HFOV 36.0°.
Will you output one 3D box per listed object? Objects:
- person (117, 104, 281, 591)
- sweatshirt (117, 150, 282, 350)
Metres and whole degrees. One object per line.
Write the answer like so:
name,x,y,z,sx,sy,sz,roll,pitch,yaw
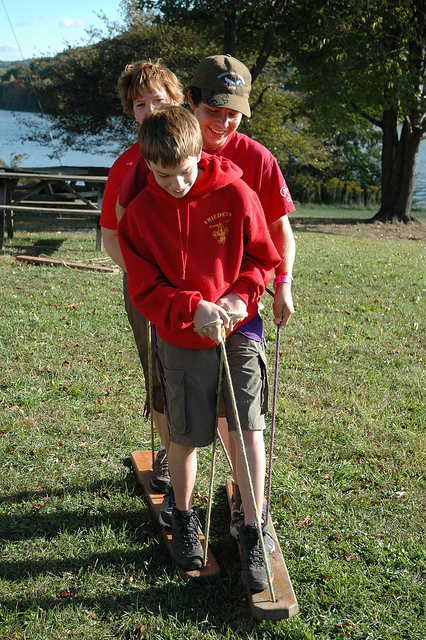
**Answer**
person,-0.043,0.144,2.618,0.699,1.908,0.562,2,12,-8
sweatshirt,-0.051,-0.294,2.691,0.646,0.720,0.420,-9,22,-12
